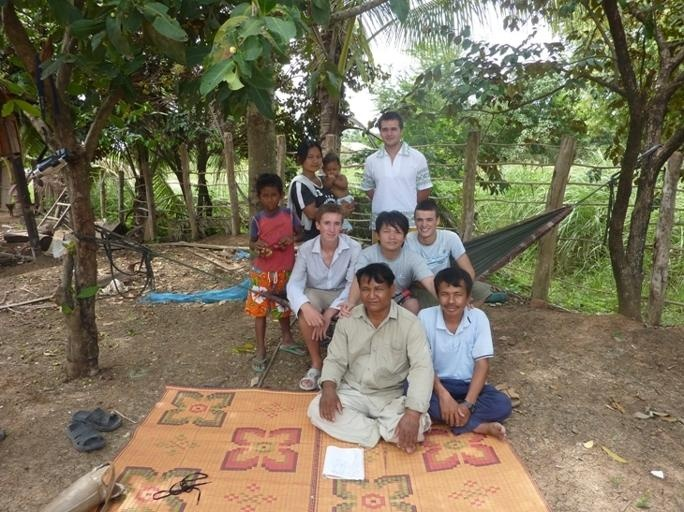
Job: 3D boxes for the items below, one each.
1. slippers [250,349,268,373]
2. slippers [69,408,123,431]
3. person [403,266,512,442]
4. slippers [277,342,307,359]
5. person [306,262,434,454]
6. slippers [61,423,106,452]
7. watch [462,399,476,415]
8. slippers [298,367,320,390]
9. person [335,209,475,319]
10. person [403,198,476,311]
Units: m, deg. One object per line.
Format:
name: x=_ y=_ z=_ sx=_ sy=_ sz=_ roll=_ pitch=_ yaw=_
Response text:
slippers: x=-0.710 y=0.896 z=4.332 sx=0.092 sy=0.069 sz=0.177 roll=1 pitch=16 yaw=-4
slippers: x=-1.732 y=1.138 z=3.619 sx=0.277 sy=0.092 sz=0.148 roll=8 pitch=16 yaw=14
person: x=0.756 y=0.662 z=3.537 sx=0.788 sy=0.972 sz=0.910 roll=-7 pitch=12 yaw=-23
slippers: x=-0.440 y=0.824 z=4.528 sx=0.202 sy=0.067 sz=0.113 roll=1 pitch=4 yaw=8
person: x=0.232 y=0.666 z=3.551 sx=0.937 sy=1.110 sz=0.828 roll=5 pitch=12 yaw=39
slippers: x=-1.752 y=1.214 z=3.480 sx=0.295 sy=0.128 sz=0.162 roll=5 pitch=11 yaw=39
watch: x=0.850 y=1.001 z=3.455 sx=0.062 sy=0.096 sz=0.097 roll=-48 pitch=22 yaw=-29
slippers: x=-0.262 y=0.965 z=4.082 sx=0.105 sy=0.084 sz=0.213 roll=4 pitch=4 yaw=16
person: x=0.466 y=0.160 z=4.056 sx=0.989 sy=0.964 sz=0.736 roll=6 pitch=19 yaw=30
person: x=0.798 y=-0.007 z=4.203 sx=0.756 sy=0.717 sz=0.614 roll=3 pitch=25 yaw=11
